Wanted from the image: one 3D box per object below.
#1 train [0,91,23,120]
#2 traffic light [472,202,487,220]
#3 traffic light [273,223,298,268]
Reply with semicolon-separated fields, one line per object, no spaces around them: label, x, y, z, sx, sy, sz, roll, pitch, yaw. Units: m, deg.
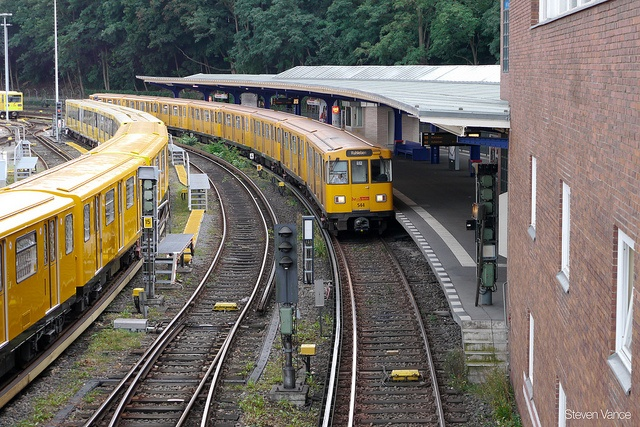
train;-35.639;-12.580;73.686;1.457;2.362;6.494;-3;7;-24
traffic light;3.714;-0.039;14.926;0.346;0.433;0.293;3;7;17
traffic light;-0.705;0.675;12.699;0.423;0.873;0.332;0;11;0
